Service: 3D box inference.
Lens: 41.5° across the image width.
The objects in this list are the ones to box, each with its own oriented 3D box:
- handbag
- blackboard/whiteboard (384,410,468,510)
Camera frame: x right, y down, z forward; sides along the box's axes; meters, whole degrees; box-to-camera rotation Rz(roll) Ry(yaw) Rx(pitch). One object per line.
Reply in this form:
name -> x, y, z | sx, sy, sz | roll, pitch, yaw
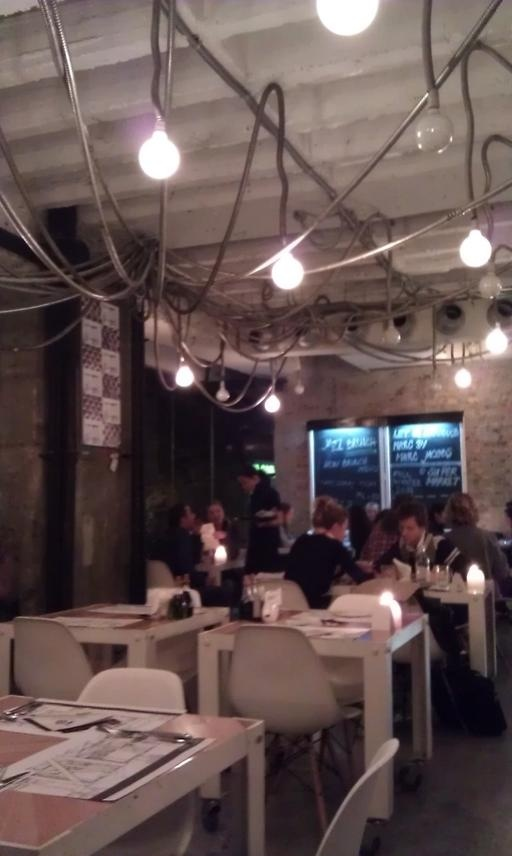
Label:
handbag -> 1.145, 1.485, 3.644 | 0.153, 0.440, 0.309 | -3, -19, -47
blackboard/whiteboard -> 2.164, 0.411, 8.798 | 1.037, 1.412, 0.056 | -4, -46, 16
